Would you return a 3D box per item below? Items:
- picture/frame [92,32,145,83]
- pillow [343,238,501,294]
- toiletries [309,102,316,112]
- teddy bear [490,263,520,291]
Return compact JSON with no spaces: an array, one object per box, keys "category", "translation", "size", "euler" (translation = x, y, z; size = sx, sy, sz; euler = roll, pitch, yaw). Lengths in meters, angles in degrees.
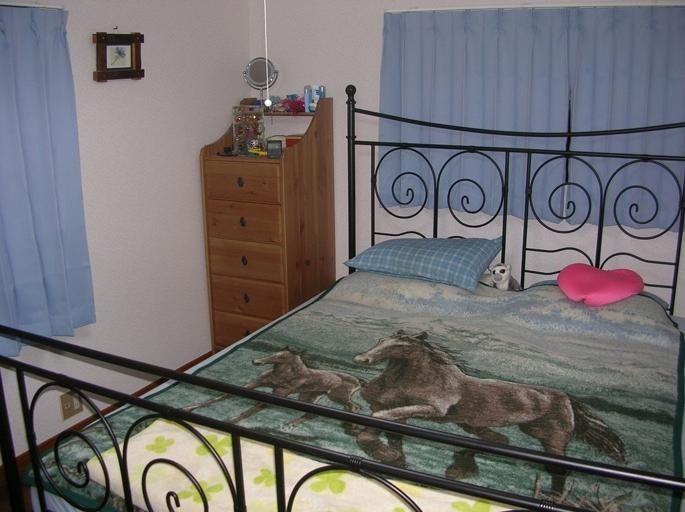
[{"category":"picture/frame","translation":[-1.226,-1.084,2.841],"size":[0.110,0.260,0.329],"euler":[22,29,15]},{"category":"pillow","translation":[0.562,0.043,3.049],"size":[0.605,0.227,0.830],"euler":[-7,10,24]},{"category":"toiletries","translation":[-0.190,-0.960,3.390],"size":[0.064,0.066,0.060],"euler":[4,5,-4]},{"category":"teddy bear","translation":[0.862,0.122,2.840],"size":[0.190,0.143,0.104],"euler":[-21,-1,-45]}]
